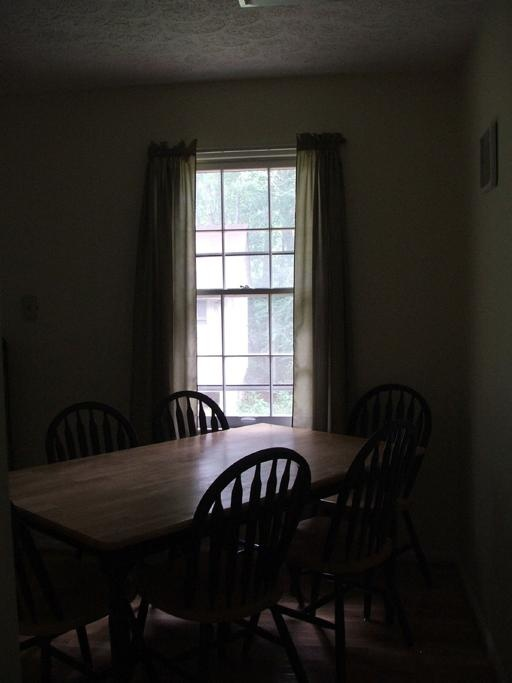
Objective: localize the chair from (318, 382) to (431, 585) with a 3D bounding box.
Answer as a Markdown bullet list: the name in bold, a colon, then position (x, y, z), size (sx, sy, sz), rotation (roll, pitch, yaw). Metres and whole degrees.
- **chair**: position (0.352, 0.277, 1.586), size (0.244, 0.591, 0.294), rotation (-7, -12, 42)
